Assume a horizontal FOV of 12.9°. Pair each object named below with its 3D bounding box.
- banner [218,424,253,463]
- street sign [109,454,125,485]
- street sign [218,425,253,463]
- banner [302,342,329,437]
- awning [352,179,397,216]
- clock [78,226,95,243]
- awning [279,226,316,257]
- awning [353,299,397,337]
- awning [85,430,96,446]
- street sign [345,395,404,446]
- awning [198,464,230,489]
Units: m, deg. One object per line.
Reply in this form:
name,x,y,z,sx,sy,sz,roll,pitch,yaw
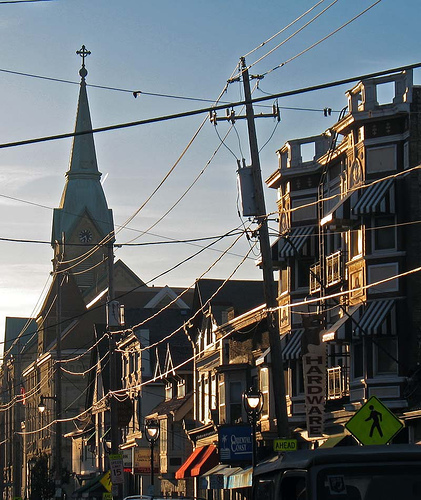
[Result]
banner,0.990,7.671,76.554,1.537,1.582,0.125,-3,2,16
street sign,-3.900,8.511,74.903,0.523,1.188,0.840,-3,-12,-3
street sign,0.995,7.633,76.561,1.822,1.352,0.703,-15,-16,40
banner,3.792,5.000,69.230,0.729,3.417,0.565,1,-14,-6
awning,5.981,-1.845,68.890,1.557,1.272,1.620,-3,21,38
clock,-11.175,-1.589,163.751,1.490,1.551,0.736,-3,-11,-5
awning,3.523,-0.361,73.805,0.851,1.484,0.914,2,-11,-21
awning,6.010,2.363,68.552,1.155,1.413,1.327,0,-12,-14
awning,-7.102,10.458,107.685,0.570,0.890,0.864,9,-29,-14
street sign,4.936,4.965,56.656,1.588,1.513,0.708,-5,-11,3
awning,0.008,9.696,81.748,0.850,1.223,4.128,-2,-13,-7
